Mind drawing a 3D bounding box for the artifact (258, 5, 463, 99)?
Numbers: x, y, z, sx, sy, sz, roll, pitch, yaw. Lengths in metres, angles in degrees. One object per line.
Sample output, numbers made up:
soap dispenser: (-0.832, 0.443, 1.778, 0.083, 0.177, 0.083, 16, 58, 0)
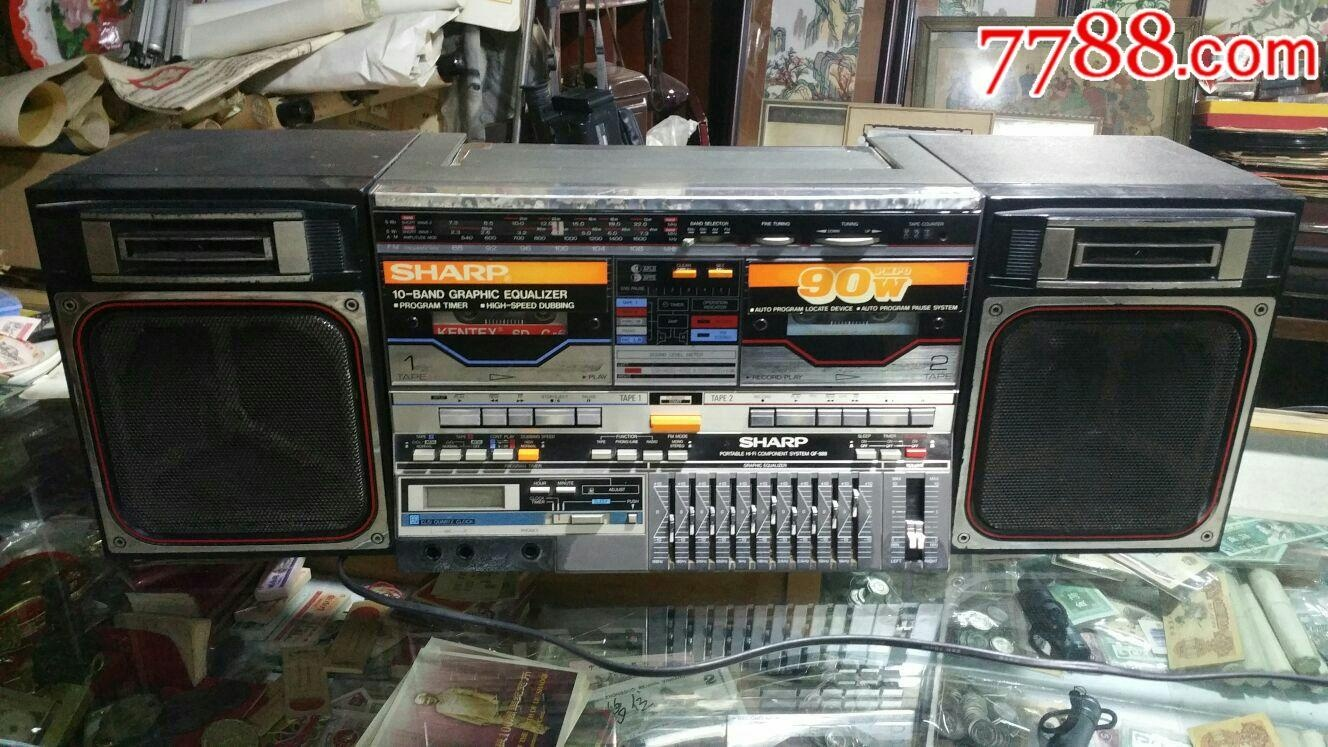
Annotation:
artifact: (-0.856, -0.859, 2.718, 0.371, 0.106, 0.325, -6, 19, 21)

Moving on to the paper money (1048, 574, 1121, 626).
paper money: (0.820, 0.446, 1.945, 0.097, 0.018, 0.080, -12, 45, -10)

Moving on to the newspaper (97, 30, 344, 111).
newspaper: (-1.160, -0.813, 2.629, 0.262, 0.122, 0.448, 36, 33, 22)
